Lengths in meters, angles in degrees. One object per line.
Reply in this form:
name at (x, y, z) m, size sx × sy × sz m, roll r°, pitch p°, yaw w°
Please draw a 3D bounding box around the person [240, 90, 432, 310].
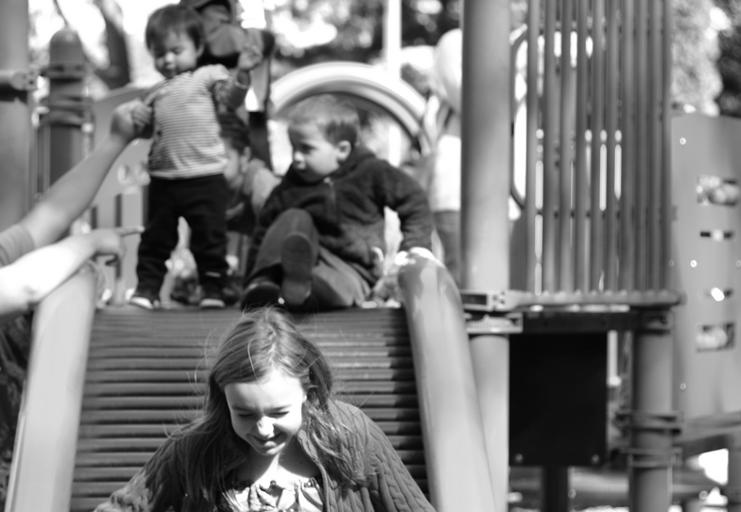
person at (-0.231, -0.276, 9.361) m, size 1.230 × 1.410 × 1.146 m, roll -6°, pitch -20°, yaw 17°
